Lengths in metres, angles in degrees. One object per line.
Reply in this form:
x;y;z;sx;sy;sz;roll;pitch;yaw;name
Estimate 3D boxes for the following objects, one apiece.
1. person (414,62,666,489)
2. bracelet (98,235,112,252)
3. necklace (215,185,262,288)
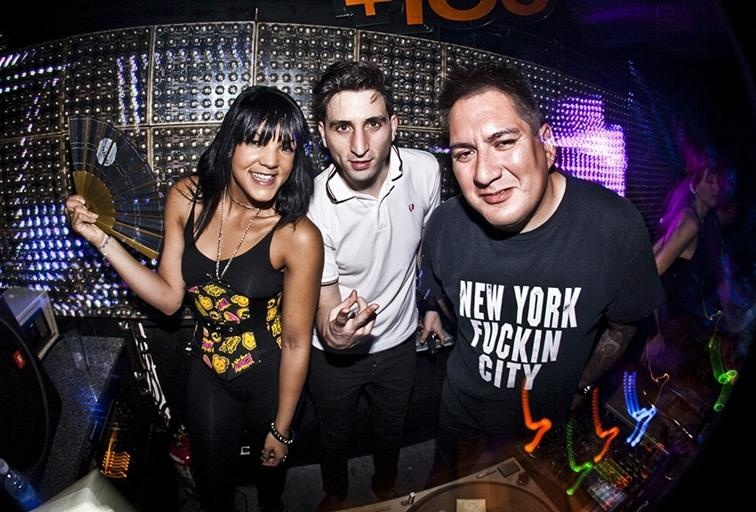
0.903;0.223;3.041;1.295;2.645;0.451;5;11;6;person
-1.776;-0.080;3.221;0.036;0.094;0.067;19;-5;-12;bracelet
-0.966;-0.131;3.279;0.295;0.590;0.249;7;12;16;necklace
